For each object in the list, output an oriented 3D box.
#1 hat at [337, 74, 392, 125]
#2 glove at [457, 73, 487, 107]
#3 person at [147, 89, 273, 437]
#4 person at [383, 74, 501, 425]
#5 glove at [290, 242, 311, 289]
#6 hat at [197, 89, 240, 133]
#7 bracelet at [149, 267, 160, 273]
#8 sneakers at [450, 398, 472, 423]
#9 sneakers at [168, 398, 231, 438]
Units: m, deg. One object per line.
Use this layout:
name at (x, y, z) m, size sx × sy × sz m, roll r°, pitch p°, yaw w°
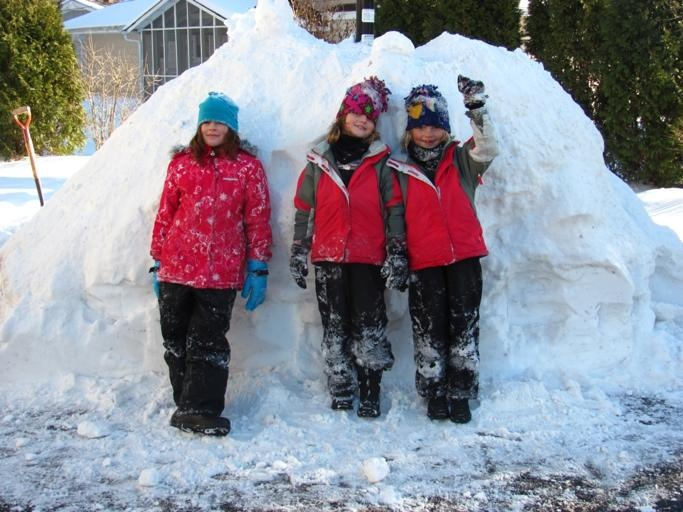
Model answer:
hat at (0.202, -1.111, 4.719) m, size 0.358 × 0.351 × 0.271 m, roll 20°, pitch 1°, yaw 12°
glove at (0.900, -1.103, 4.517) m, size 0.171 × 0.225 × 0.107 m, roll -36°, pitch -13°, yaw 8°
person at (-0.889, 0.032, 4.550) m, size 0.821 × 2.227 × 0.771 m, roll -3°, pitch 10°, yaw -17°
person at (0.685, -0.057, 4.547) m, size 0.673 × 2.311 × 0.529 m, roll 4°, pitch 10°, yaw 22°
glove at (-0.289, 0.091, 4.677) m, size 0.162 × 0.298 × 0.069 m, roll -3°, pitch -1°, yaw 38°
hat at (-0.888, -1.015, 4.699) m, size 0.235 × 0.251 × 0.291 m, roll 5°, pitch -9°, yaw 4°
bracelet at (-1.352, 0.103, 4.747) m, size 0.061 × 0.030 × 0.080 m, roll -22°, pitch -16°, yaw -28°
sneakers at (0.793, 1.063, 4.474) m, size 0.099 × 0.188 × 0.186 m, roll -1°, pitch 35°, yaw 5°
sneakers at (-0.948, 1.112, 4.453) m, size 0.384 × 0.183 × 0.168 m, roll 5°, pitch -17°, yaw 15°
